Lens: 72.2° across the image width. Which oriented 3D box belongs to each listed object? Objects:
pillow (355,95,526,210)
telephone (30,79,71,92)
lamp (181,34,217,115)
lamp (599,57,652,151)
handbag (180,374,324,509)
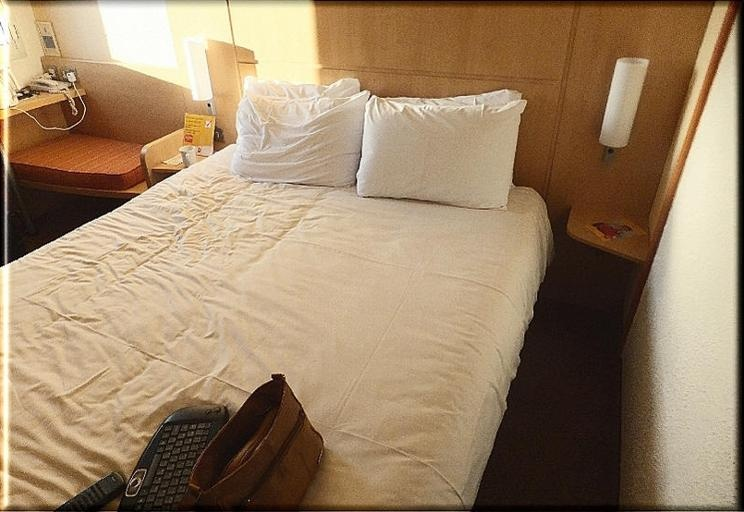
[{"bbox_3d":[0.344,-0.531,2.486,0.747,0.656,0.210,4,8,13],"label":"pillow"},{"bbox_3d":[-2.359,-1.245,3.739,0.256,0.082,0.129,-12,32,-27],"label":"telephone"},{"bbox_3d":[-1.130,-1.168,3.368,0.145,0.498,0.286,-5,31,-14],"label":"lamp"},{"bbox_3d":[1.228,-0.755,2.525,0.140,0.411,0.129,6,30,6],"label":"lamp"},{"bbox_3d":[-0.357,0.566,1.520,0.184,0.233,0.321,-8,41,40],"label":"handbag"}]
